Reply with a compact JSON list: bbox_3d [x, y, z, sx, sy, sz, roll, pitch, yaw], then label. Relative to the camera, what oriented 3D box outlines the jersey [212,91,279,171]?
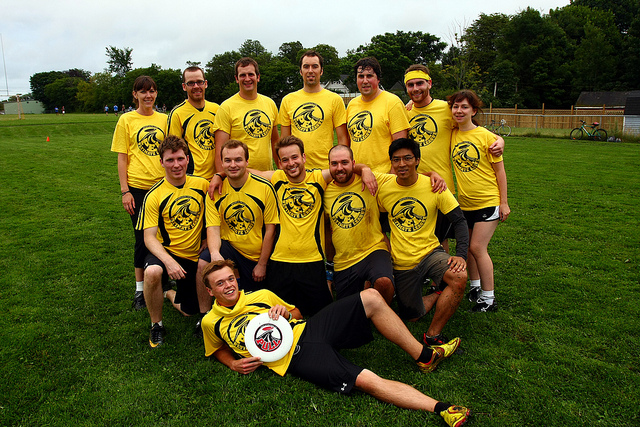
[{"bbox_3d":[-1.179,-1.475,7.326,1.262,1.463,0.553,-11,43,-9],"label":"jersey"}]

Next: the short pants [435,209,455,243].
[{"bbox_3d":[2.052,0.183,6.523,0.232,0.440,0.428,-3,21,38],"label":"short pants"}]

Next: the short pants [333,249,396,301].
[{"bbox_3d":[0.661,0.909,6.074,0.933,0.736,0.337,-9,-5,34],"label":"short pants"}]

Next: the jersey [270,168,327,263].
[{"bbox_3d":[-0.331,0.036,6.275,0.938,1.345,0.600,-3,14,0],"label":"jersey"}]

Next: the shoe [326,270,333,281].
[{"bbox_3d":[0.190,1.128,7.323,0.150,0.136,0.150,-7,-18,15],"label":"shoe"}]

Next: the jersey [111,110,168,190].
[{"bbox_3d":[-3.239,-1.139,7.239,0.899,1.354,0.642,0,14,9],"label":"jersey"}]

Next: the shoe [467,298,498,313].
[{"bbox_3d":[2.732,1.531,6.697,0.555,0.245,0.196,-1,0,3],"label":"shoe"}]

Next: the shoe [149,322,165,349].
[{"bbox_3d":[-2.454,1.818,5.984,0.229,0.294,0.236,-9,15,-24],"label":"shoe"}]

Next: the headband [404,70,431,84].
[{"bbox_3d":[1.662,-2.274,6.734,0.410,0.204,0.294,0,14,11],"label":"headband"}]

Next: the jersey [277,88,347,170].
[{"bbox_3d":[-0.113,-1.483,7.077,1.221,1.349,0.631,-2,14,2],"label":"jersey"}]

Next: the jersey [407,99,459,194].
[{"bbox_3d":[1.996,-1.276,7.224,1.195,1.773,0.596,16,49,41],"label":"jersey"}]

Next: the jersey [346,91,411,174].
[{"bbox_3d":[0.992,-1.300,6.635,1.329,1.303,0.708,5,21,35],"label":"jersey"}]

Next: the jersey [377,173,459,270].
[{"bbox_3d":[1.472,0.132,6.140,1.343,1.325,0.723,-6,10,11],"label":"jersey"}]

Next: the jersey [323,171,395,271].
[{"bbox_3d":[0.619,0.095,6.166,1.410,1.193,0.578,-9,8,7],"label":"jersey"}]

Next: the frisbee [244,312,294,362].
[{"bbox_3d":[-0.680,1.660,5.365,0.640,0.551,0.297,2,15,16],"label":"frisbee"}]

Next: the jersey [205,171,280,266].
[{"bbox_3d":[-1.260,0.071,6.540,1.237,1.399,0.526,-1,30,5],"label":"jersey"}]

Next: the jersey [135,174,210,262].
[{"bbox_3d":[-2.252,0.070,6.585,0.617,1.368,1.459,14,17,42],"label":"jersey"}]

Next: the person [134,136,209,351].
[{"bbox_3d":[-2.302,0.337,6.293,1.298,2.962,0.875,-16,19,-41],"label":"person"}]

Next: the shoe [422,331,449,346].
[{"bbox_3d":[1.718,1.824,5.835,0.381,0.157,0.136,0,7,-5],"label":"shoe"}]
